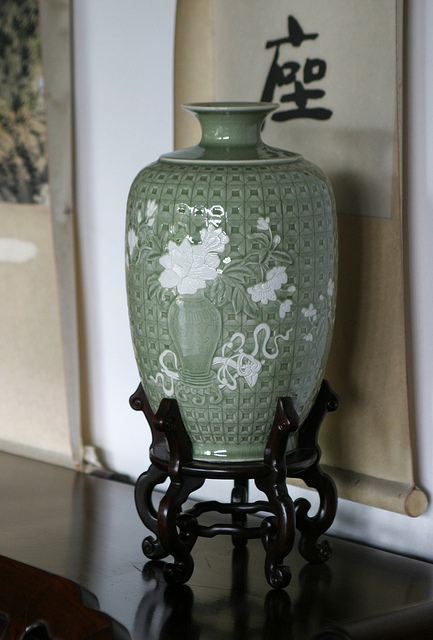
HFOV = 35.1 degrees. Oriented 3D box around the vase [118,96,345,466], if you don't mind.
[{"bbox_3d":[0.021,-0.043,0.871,0.271,0.454,0.151,-2,9,-4],"label":"vase"}]
